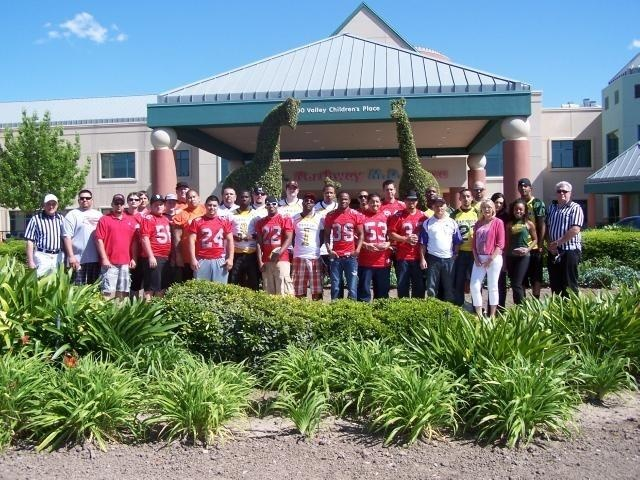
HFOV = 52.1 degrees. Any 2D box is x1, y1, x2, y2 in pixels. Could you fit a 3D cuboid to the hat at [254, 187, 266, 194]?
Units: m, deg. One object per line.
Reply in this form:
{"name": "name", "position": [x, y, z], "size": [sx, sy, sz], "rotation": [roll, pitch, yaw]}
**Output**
{"name": "hat", "position": [-1.032, -0.846, 11.104], "size": [0.178, 0.142, 0.289], "rotation": [3, -9, -4]}

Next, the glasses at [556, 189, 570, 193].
{"name": "glasses", "position": [3.869, -0.768, 10.396], "size": [0.199, 0.079, 0.301], "rotation": [0, 0, 22]}

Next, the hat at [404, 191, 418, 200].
{"name": "hat", "position": [1.481, -0.725, 10.683], "size": [0.225, 0.183, 0.344], "rotation": [1, -2, 8]}

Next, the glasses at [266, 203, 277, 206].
{"name": "glasses", "position": [-0.775, -0.564, 10.255], "size": [0.158, 0.052, 0.143], "rotation": [0, 0, -5]}
